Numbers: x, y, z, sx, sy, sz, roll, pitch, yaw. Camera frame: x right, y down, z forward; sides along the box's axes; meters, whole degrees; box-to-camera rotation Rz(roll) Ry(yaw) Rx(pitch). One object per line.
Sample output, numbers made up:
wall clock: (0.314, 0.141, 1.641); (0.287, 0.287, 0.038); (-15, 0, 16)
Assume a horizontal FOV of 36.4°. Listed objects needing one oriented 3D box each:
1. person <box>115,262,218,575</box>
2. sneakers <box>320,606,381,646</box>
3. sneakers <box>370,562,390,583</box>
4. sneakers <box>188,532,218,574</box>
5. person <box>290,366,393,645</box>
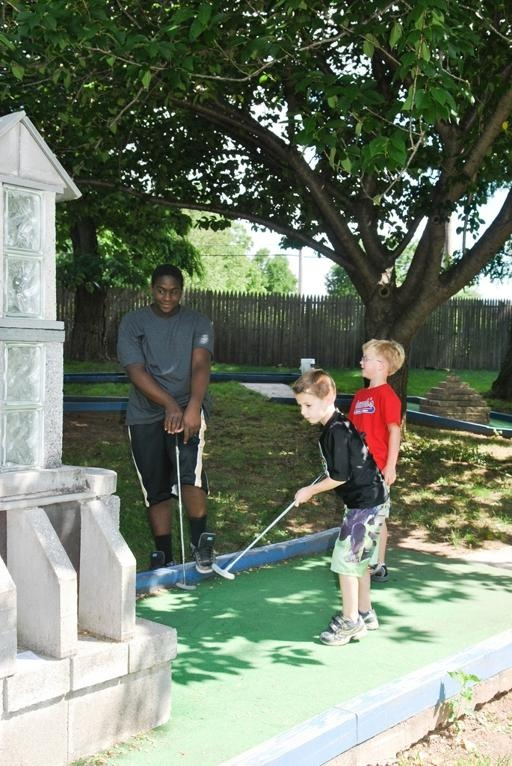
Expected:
person: (-0.507, 0.191, 4.385); (0.591, 1.723, 0.452); (2, 5, -6)
sneakers: (0.434, 1.107, 3.563); (0.320, 0.133, 0.111); (-4, 2, -37)
sneakers: (0.741, 1.115, 4.537); (0.072, 0.094, 0.153); (-1, 4, -4)
sneakers: (-0.297, 0.941, 4.184); (0.104, 0.163, 0.267); (2, 3, -15)
person: (0.410, 0.555, 3.600); (0.500, 1.213, 0.449); (3, 4, 2)
